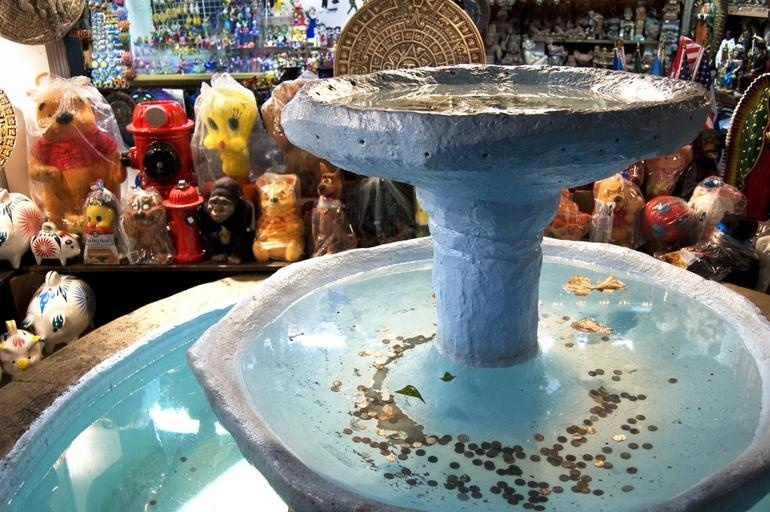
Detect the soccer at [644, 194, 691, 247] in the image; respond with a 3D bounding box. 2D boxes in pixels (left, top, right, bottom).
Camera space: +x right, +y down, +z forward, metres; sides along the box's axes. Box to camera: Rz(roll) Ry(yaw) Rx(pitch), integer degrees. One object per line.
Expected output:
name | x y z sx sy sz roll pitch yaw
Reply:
soccer | 1.547 -0.186 3.225 0.253 0.304 0.258 5 -5 19
